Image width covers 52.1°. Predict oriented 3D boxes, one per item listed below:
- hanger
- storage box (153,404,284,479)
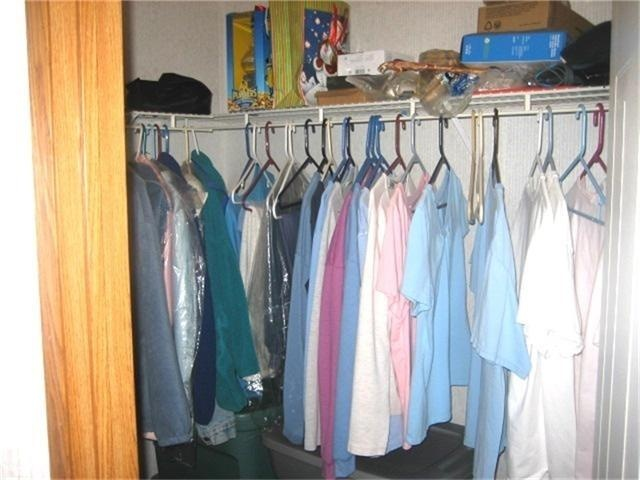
[{"bbox_3d":[0.105,-0.274,2.176,1.527,0.347,0.817,2,10,17],"label":"hanger"},{"bbox_3d":[-0.337,0.681,2.124,0.404,0.265,0.147,0,10,8],"label":"storage box"}]
